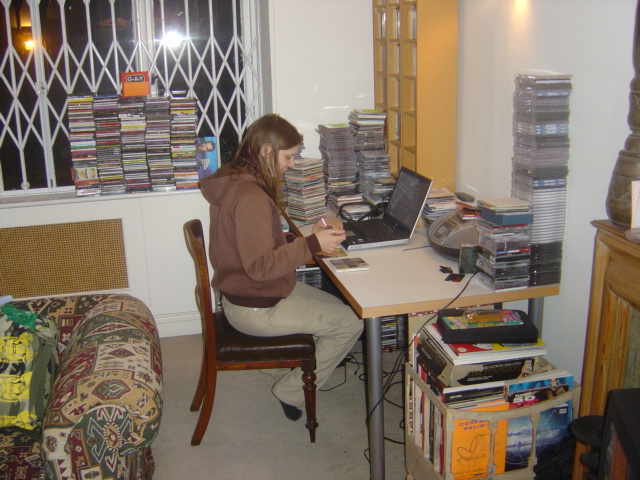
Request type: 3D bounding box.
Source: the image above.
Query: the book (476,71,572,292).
[{"bbox_3d":[0.834,-0.243,2.198,0.368,0.868,0.244,-10,16,-21],"label":"book"}]

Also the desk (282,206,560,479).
[{"bbox_3d":[0.433,0.493,2.722,1.024,0.967,1.018,-7,21,-17],"label":"desk"}]

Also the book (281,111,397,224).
[{"bbox_3d":[0.161,-0.543,3.559,0.766,0.972,0.663,-2,9,-11],"label":"book"}]

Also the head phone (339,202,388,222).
[{"bbox_3d":[0.248,-0.169,3.081,0.188,0.045,0.138,-9,28,-9],"label":"head phone"}]

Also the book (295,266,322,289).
[{"bbox_3d":[-0.069,0.236,3.473,0.229,0.128,0.224,-1,2,-13],"label":"book"}]

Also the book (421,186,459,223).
[{"bbox_3d":[0.653,-0.199,2.889,0.199,0.061,0.153,-12,22,-27],"label":"book"}]

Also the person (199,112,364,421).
[{"bbox_3d":[-0.184,0.190,2.657,0.768,1.469,0.672,-2,9,-12],"label":"person"}]

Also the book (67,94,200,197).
[{"bbox_3d":[-1.221,-0.635,3.474,0.823,0.640,0.152,-4,15,-2],"label":"book"}]

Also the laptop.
[{"bbox_3d":[0.340,-0.141,2.771,0.440,0.342,0.492,-5,25,-7],"label":"laptop"}]
